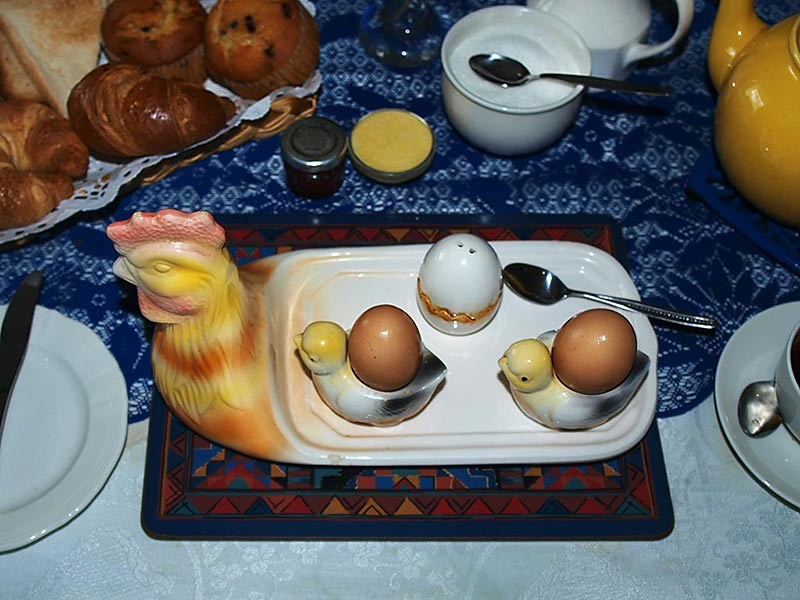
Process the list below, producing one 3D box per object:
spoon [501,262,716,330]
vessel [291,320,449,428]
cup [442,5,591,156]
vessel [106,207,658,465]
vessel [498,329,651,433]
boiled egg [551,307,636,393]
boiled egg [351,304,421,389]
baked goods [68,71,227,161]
[{"bbox_3d":[0.338,-0.002,1.277,0.398,0.056,0.091,8,93,11],"label":"spoon"},{"bbox_3d":[-0.042,0.105,1.181,0.219,0.145,0.172,7,50,7],"label":"vessel"},{"bbox_3d":[0.201,-0.360,1.460,0.257,0.153,0.247,0,72,0],"label":"cup"},{"bbox_3d":[0.013,0.095,1.204,0.725,0.417,0.456,-3,60,-1],"label":"vessel"},{"bbox_3d":[0.255,0.140,1.134,0.185,0.139,0.154,-12,63,7],"label":"vessel"},{"bbox_3d":[0.284,0.075,1.127,0.109,0.064,0.104,-1,68,-6],"label":"boiled egg"},{"bbox_3d":[-0.020,0.078,1.173,0.102,0.138,0.109,3,33,18],"label":"boiled egg"},{"bbox_3d":[-0.462,-0.321,1.345,0.231,0.086,0.155,13,68,6],"label":"baked goods"}]
